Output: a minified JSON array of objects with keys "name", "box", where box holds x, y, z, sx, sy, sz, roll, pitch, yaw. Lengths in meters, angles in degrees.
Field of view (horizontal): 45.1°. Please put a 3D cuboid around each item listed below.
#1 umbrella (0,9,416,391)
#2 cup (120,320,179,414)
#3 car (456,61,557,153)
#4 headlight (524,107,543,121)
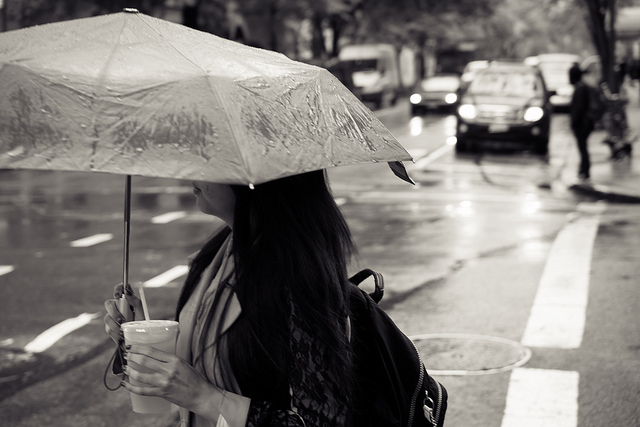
[{"name":"umbrella","box":[-0.858,-0.092,3.864,1.693,1.132,1.763,2,7,-26]},{"name":"cup","box":[-0.760,0.742,3.520,0.266,0.505,0.363,-5,12,-14]},{"name":"car","box":[4.965,-2.856,20.684,1.702,1.540,3.010,1,2,16]},{"name":"headlight","box":[5.368,-2.456,19.279,0.378,0.302,0.398,4,13,27]}]
